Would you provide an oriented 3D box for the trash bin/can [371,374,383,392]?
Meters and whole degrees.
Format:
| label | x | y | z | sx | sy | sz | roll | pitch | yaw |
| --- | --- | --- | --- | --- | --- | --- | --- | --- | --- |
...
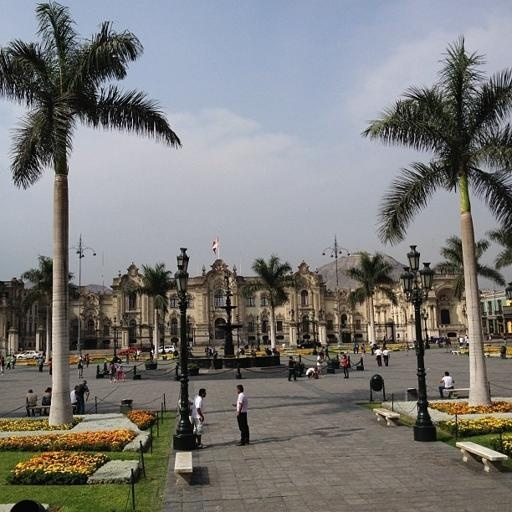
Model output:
| label | x | y | z | sx | sy | sz | roll | pitch | yaw |
| --- | --- | --- | --- | --- | --- | --- | --- | --- | --- |
| trash bin/can | 4.220 | 4.415 | 20.466 | 0.393 | 0.512 | 0.679 | -5 | -8 | 15 |

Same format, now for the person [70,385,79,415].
| label | x | y | z | sx | sy | sz | roll | pitch | yaw |
| --- | --- | --- | --- | --- | --- | --- | --- | --- | --- |
| person | -6.341 | 5.051 | 20.637 | 0.203 | 0.840 | 1.516 | 0 | -9 | -19 |

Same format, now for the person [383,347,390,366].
| label | x | y | z | sx | sy | sz | roll | pitch | yaw |
| --- | --- | --- | --- | --- | --- | --- | --- | --- | --- |
| person | 9.263 | 7.140 | 41.836 | 0.342 | 1.193 | 1.843 | -4 | -8 | 11 |

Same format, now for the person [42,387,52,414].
| label | x | y | z | sx | sy | sz | roll | pitch | yaw |
| --- | --- | --- | --- | --- | --- | --- | --- | --- | --- |
| person | -7.395 | 5.131 | 20.832 | 0.271 | 1.038 | 2.294 | 0 | -9 | -20 |

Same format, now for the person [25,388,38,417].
| label | x | y | z | sx | sy | sz | roll | pitch | yaw |
| --- | --- | --- | --- | --- | --- | --- | --- | --- | --- |
| person | -8.057 | 5.255 | 21.192 | 0.346 | 0.958 | 1.820 | 1 | -9 | -21 |

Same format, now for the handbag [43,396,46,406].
| label | x | y | z | sx | sy | sz | roll | pitch | yaw |
| --- | --- | --- | --- | --- | --- | --- | --- | --- | --- |
| handbag | -7.348 | 5.062 | 20.551 | 0.133 | 0.272 | 0.359 | 1 | -9 | -24 |
